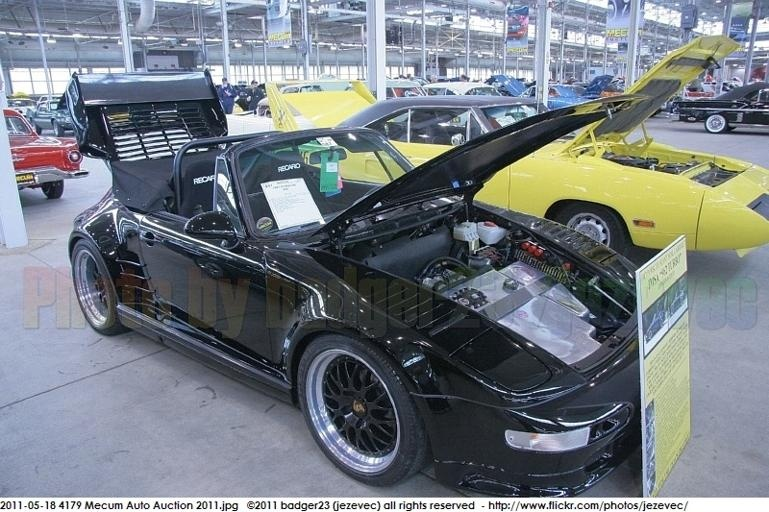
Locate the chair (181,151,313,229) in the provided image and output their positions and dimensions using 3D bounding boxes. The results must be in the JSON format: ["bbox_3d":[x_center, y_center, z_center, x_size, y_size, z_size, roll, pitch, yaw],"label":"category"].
[{"bbox_3d":[-0.882,-0.483,3.600,0.689,0.611,0.783,2,22,45],"label":"chair"}]

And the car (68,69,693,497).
[{"bbox_3d":[-0.433,-0.019,3.807,4.665,2.138,2.098,9,23,34],"label":"car"}]
